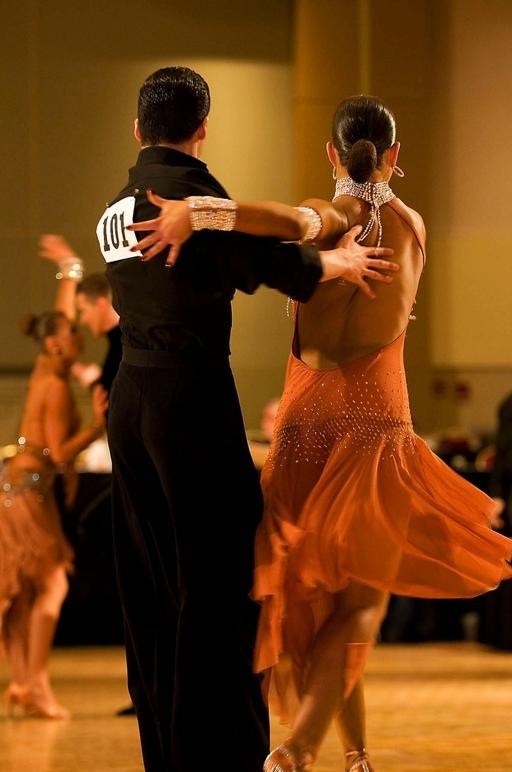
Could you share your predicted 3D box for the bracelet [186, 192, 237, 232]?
[{"bbox_3d":[-0.078,-0.311,1.434,0.078,0.064,0.079,-9,14,-42],"label":"bracelet"}]
